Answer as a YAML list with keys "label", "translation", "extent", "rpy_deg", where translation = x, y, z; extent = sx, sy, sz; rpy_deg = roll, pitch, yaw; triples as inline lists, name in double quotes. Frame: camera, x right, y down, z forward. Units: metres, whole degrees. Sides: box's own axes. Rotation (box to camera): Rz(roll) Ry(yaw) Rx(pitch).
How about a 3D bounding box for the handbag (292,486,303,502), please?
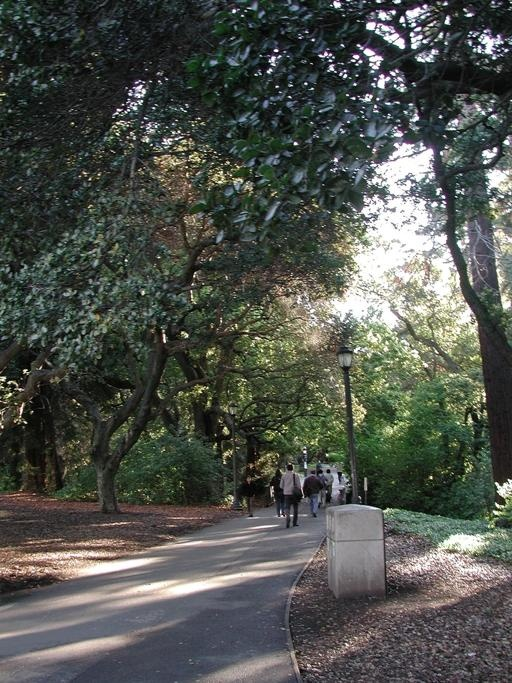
- label: "handbag"
  translation: [1.079, 4.066, 17.243]
  extent: [0.195, 0.357, 0.477]
  rpy_deg: [-4, -8, 15]
